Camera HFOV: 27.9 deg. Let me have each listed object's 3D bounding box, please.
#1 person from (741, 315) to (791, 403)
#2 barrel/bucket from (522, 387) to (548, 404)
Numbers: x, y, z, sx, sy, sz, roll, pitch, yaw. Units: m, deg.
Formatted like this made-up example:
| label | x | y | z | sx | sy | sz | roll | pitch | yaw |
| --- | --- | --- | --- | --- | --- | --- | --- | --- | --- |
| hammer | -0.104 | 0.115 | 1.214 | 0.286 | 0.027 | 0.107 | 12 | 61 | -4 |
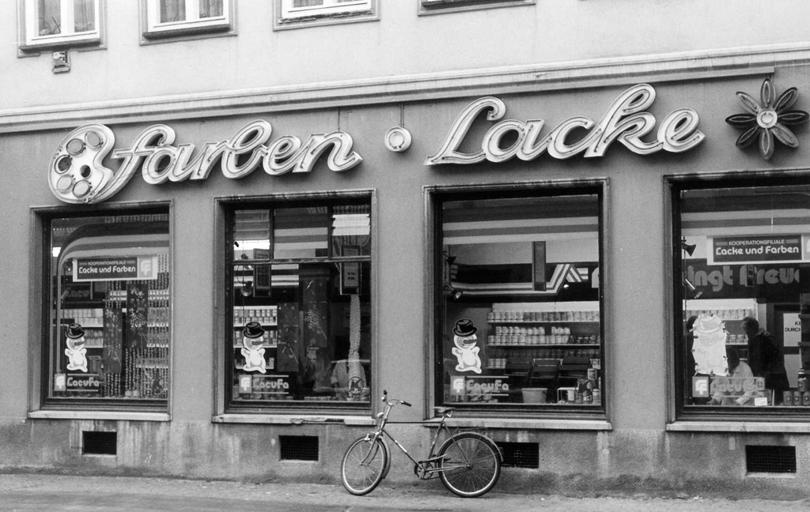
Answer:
| label | x | y | z | sx | sy | sz | roll | pitch | yaw |
| --- | --- | --- | --- | --- | --- | --- | --- | --- | --- |
| person | 5.931 | 1.694 | 26.683 | 0.627 | 1.404 | 0.170 | -3 | -12 | 11 |
| barrel/bucket | 2.166 | 2.339 | 27.319 | 0.317 | 0.184 | 0.318 | 1 | -9 | 0 |
